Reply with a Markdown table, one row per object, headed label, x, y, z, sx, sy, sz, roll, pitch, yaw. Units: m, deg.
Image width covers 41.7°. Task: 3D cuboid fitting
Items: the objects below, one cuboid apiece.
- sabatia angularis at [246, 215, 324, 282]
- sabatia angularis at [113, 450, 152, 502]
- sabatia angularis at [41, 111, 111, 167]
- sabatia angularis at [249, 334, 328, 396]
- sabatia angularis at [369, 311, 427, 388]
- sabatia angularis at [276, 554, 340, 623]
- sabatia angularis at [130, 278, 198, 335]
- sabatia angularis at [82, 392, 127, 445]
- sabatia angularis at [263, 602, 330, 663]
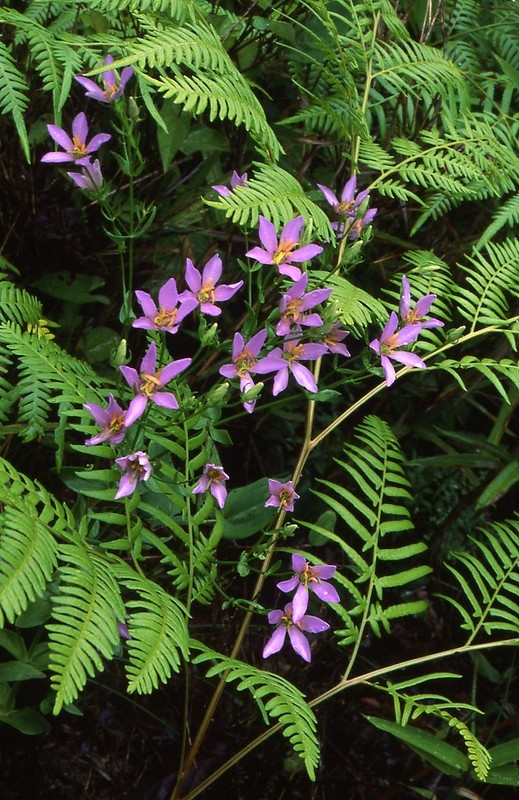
| label | x | y | z | sx | sy | sz | roll | pitch | yaw |
| --- | --- | --- | --- | --- | --- | --- | --- | --- | --- |
| sabatia angularis | 0.037 | -0.257 | 1.163 | 0.124 | 0.061 | 0.118 | 21 | 63 | 17 |
| sabatia angularis | -0.218 | 0.129 | 1.212 | 0.059 | 0.039 | 0.086 | 39 | 49 | -11 |
| sabatia angularis | -0.362 | -0.508 | 1.348 | 0.108 | 0.132 | 0.209 | 6 | 33 | -20 |
| sabatia angularis | 0.048 | -0.086 | 1.273 | 0.165 | 0.065 | 0.182 | 5 | 12 | 28 |
| sabatia angularis | 0.254 | -0.096 | 1.304 | 0.130 | 0.128 | 0.065 | -40 | 61 | -10 |
| sabatia angularis | 0.093 | 0.345 | 1.306 | 0.122 | 0.039 | 0.104 | -9 | -5 | -13 |
| sabatia angularis | -0.161 | -0.143 | 1.134 | 0.110 | 0.048 | 0.110 | 12 | 47 | 2 |
| sabatia angularis | -0.257 | 0.024 | 1.194 | 0.082 | 0.040 | 0.082 | -5 | 11 | -11 |
| sabatia angularis | 0.058 | 0.439 | 1.331 | 0.128 | 0.045 | 0.118 | -17 | 2 | 10 |
